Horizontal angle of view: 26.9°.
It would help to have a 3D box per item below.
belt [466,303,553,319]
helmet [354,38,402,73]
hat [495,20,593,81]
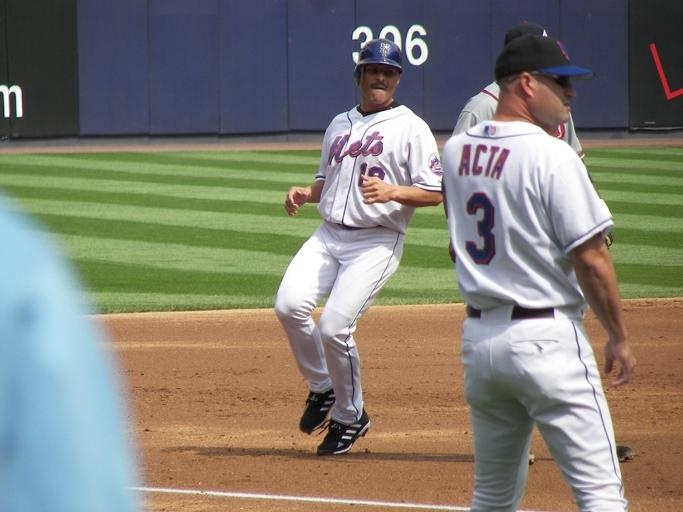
[{"bbox_3d":[1.615,0.519,13.716,0.849,0.159,0.111,3,5,18],"label":"belt"},{"bbox_3d":[0.442,-2.172,15.262,0.520,0.350,0.678,3,0,-3],"label":"helmet"},{"bbox_3d":[1.951,-2.043,13.956,0.815,0.479,0.534,0,8,6],"label":"hat"}]
